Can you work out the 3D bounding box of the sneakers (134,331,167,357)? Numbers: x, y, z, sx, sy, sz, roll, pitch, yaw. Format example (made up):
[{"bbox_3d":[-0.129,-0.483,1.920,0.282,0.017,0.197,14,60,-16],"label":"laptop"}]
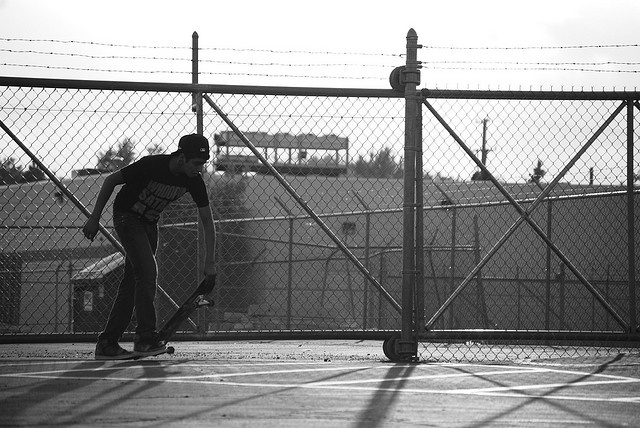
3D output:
[{"bbox_3d":[-1.596,1.228,7.490,0.376,0.208,0.139,-2,-1,1],"label":"sneakers"}]

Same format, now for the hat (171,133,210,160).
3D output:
[{"bbox_3d":[-1.148,-0.623,7.469,0.379,0.241,0.317,13,13,24],"label":"hat"}]

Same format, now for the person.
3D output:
[{"bbox_3d":[-1.568,0.296,7.492,1.172,2.093,0.593,1,-7,0],"label":"person"}]

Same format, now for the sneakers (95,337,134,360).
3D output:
[{"bbox_3d":[-1.937,1.283,7.619,0.431,0.238,0.160,1,-3,-3],"label":"sneakers"}]
